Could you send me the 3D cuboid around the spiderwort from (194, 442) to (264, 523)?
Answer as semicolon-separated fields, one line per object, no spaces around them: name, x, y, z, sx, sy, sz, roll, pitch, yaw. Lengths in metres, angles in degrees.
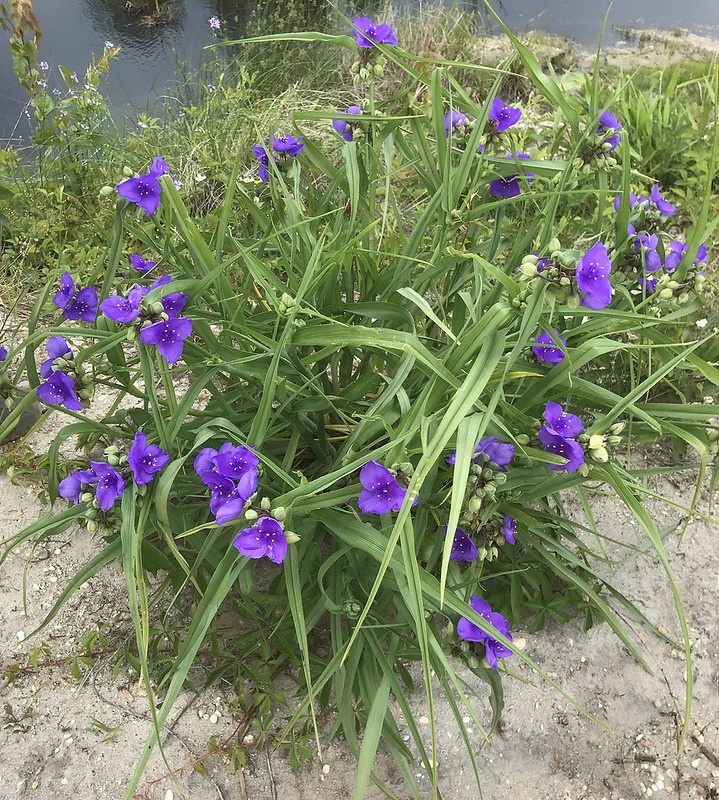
spiderwort;-0.265;0.157;1.392;0.133;0.080;0.157;-14;88;-9

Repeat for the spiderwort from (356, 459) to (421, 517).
spiderwort;0.044;0.176;1.357;0.092;0.126;0.062;1;49;2

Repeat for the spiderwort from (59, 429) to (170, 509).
spiderwort;-0.539;0.170;1.574;0.093;0.231;0.151;-22;82;-52

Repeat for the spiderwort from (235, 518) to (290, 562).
spiderwort;-0.180;0.272;1.339;0.098;0.069;0.077;17;51;16
